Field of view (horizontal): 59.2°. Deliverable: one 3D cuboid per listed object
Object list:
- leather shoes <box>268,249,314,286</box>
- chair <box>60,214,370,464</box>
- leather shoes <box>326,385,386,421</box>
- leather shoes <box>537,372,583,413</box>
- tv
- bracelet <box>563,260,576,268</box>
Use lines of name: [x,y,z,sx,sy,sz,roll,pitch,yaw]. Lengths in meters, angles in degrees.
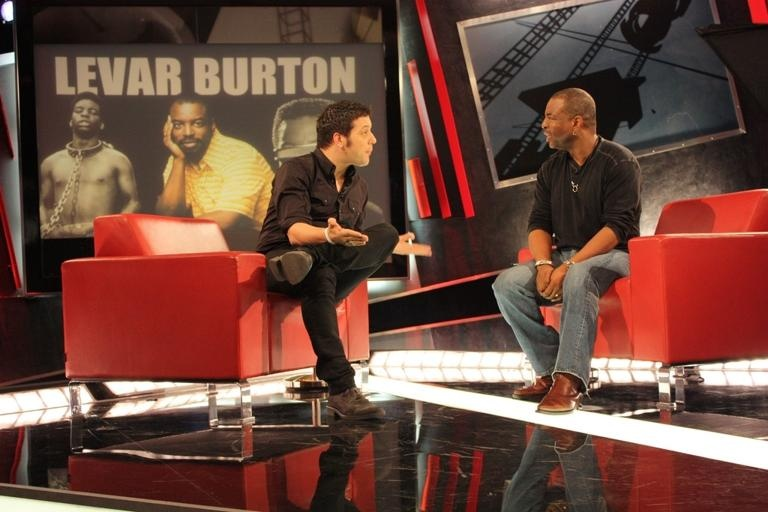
leather shoes: [-0.415,0.053,3.103,0.219,0.122,0.131,-4,-4,1]
chair: [-0.814,0.300,3.728,1.000,1.019,1.364,-1,3,20]
leather shoes: [-0.142,0.710,3.251,0.277,0.121,0.127,-2,-2,28]
leather shoes: [0.865,0.663,3.245,0.169,0.131,0.392,4,8,35]
tv: [-1.252,-0.696,4.375,2.425,1.544,0.045,-1,-3,-4]
bracelet: [0.947,0.045,3.431,0.044,0.026,0.041,15,-2,11]
